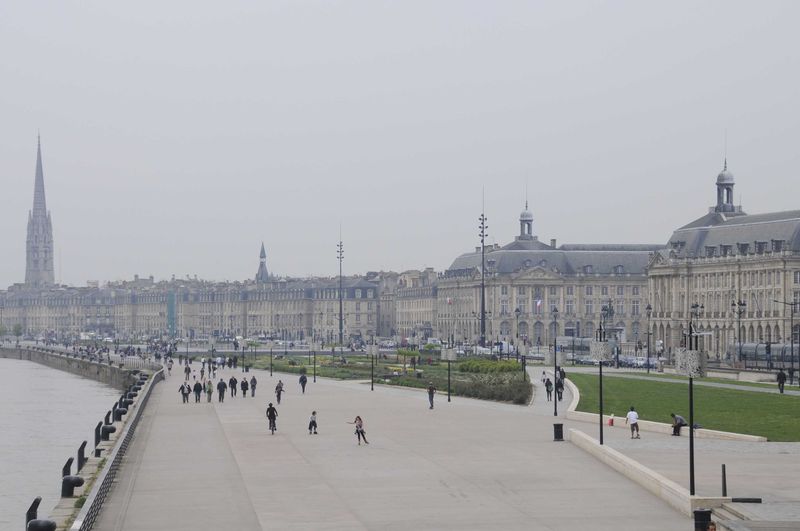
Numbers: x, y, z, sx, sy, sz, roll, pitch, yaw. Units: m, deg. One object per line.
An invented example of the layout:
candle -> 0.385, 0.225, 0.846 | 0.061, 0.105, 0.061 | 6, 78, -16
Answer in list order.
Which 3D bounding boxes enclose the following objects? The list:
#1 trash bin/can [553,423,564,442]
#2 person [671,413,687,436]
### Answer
trash bin/can -> 11.832, 12.119, 115.572 | 0.731, 1.134, 1.381 | -1, 4, 4
person -> 20.846, 11.675, 116.002 | 1.025, 1.638, 1.114 | -1, 4, 8
